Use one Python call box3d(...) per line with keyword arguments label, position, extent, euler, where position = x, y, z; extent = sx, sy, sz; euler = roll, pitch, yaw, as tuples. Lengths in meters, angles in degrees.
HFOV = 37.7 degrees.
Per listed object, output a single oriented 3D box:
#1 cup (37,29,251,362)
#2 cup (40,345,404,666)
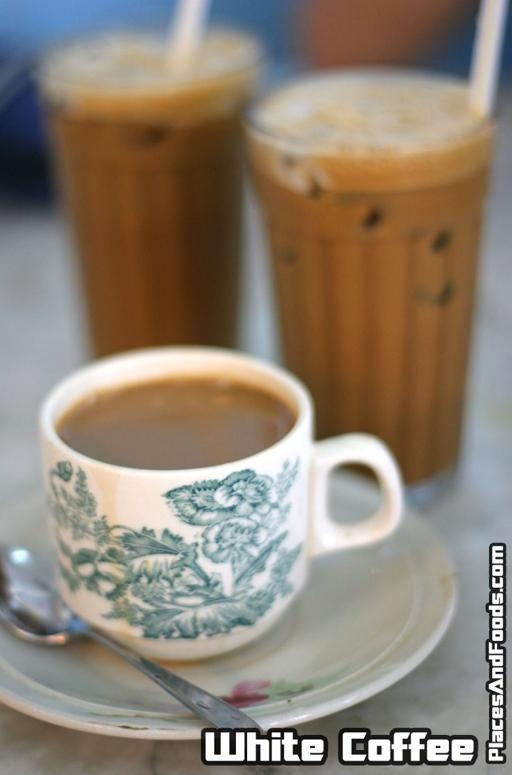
box3d(label="cup", position=(-0.046, -0.096, 0.406), extent=(0.109, 0.168, 0.057), euler=(-4, 37, 2))
box3d(label="cup", position=(-0.013, 0.051, 0.308), extent=(0.144, 0.090, 0.105), euler=(4, 24, 12))
